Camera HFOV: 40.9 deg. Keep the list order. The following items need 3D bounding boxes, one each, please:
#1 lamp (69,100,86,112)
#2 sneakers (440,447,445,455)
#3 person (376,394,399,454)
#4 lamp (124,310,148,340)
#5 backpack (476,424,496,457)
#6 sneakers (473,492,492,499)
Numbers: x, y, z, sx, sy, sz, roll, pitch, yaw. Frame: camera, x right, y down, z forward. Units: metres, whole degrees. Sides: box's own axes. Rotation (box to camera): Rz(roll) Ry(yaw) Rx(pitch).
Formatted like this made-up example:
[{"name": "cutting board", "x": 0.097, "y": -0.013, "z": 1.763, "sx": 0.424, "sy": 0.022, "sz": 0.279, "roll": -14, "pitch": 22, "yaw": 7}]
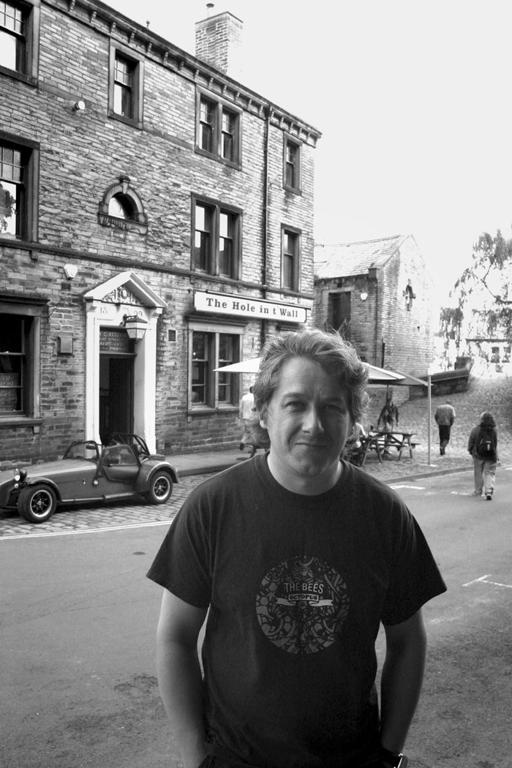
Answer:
[{"name": "lamp", "x": -3.846, "y": -5.989, "z": 14.934, "sx": 0.247, "sy": 0.320, "sz": 0.296, "roll": -7, "pitch": 14, "yaw": -23}, {"name": "sneakers", "x": 6.016, "y": 2.195, "z": 22.571, "sx": 0.163, "sy": 0.231, "sz": 0.491, "roll": -1, "pitch": 18, "yaw": 14}, {"name": "person", "x": 4.819, "y": 1.288, "z": 25.058, "sx": 0.534, "sy": 0.449, "sz": 2.066, "roll": 12, "pitch": -38, "yaw": 19}, {"name": "lamp", "x": -2.935, "y": -1.383, "z": 16.376, "sx": 0.454, "sy": 0.848, "sz": 0.528, "roll": 0, "pitch": 2, "yaw": 34}, {"name": "backpack", "x": 4.582, "y": 1.219, "z": 13.898, "sx": 0.344, "sy": 0.421, "sz": 0.471, "roll": 1, "pitch": -1, "yaw": 20}, {"name": "sneakers", "x": 4.471, "y": 2.209, "z": 13.618, "sx": 0.109, "sy": 0.178, "sz": 0.354, "roll": 1, "pitch": -12, "yaw": -8}]
